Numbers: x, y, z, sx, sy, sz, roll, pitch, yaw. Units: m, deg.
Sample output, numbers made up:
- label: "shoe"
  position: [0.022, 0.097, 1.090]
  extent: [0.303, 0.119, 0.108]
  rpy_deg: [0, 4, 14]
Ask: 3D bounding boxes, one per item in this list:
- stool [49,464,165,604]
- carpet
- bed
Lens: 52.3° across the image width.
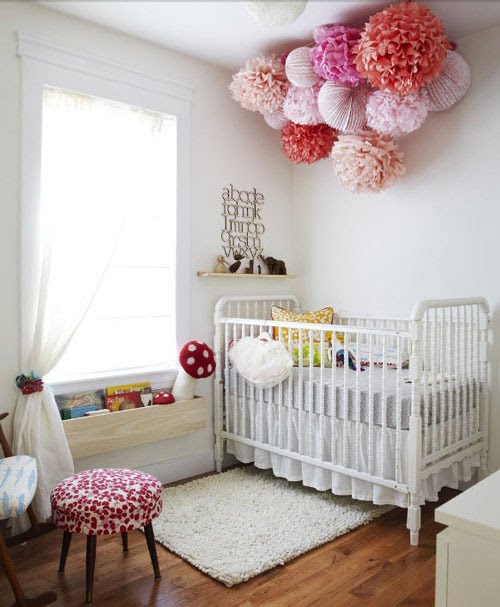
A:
- label: "stool"
  position: [-0.496, 0.810, 1.805]
  extent: [0.329, 0.367, 0.333]
  rpy_deg: [1, 2, 40]
- label: "carpet"
  position: [-0.005, 0.968, 2.408]
  extent: [0.964, 0.030, 0.909]
  rpy_deg: [-2, 2, -41]
- label: "bed"
  position: [0.494, 0.462, 2.720]
  extent: [1.271, 0.944, 0.933]
  rpy_deg: [1, 2, 44]
